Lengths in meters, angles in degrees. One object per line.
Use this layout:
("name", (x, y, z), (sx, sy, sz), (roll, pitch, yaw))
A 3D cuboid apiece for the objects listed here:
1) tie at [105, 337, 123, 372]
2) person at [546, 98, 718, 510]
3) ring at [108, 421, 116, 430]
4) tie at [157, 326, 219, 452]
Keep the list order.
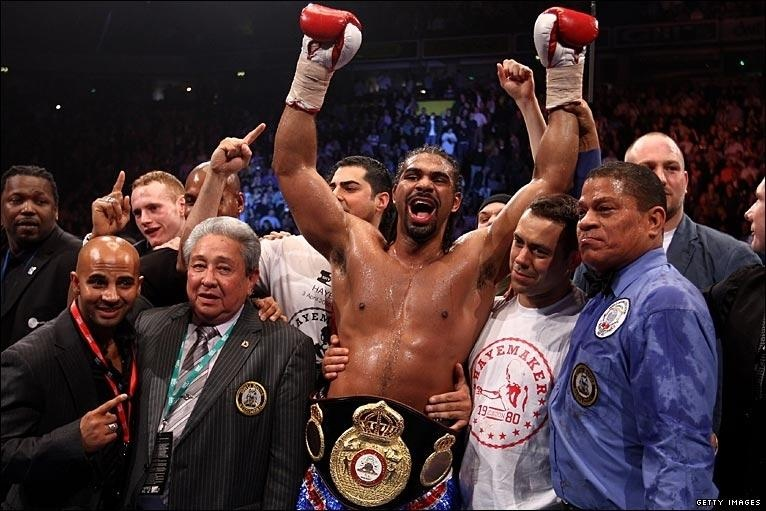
("tie", (-1.517, 0.552, 3.811), (0.136, 0.157, 0.159), (-5, -13, -9))
("person", (1.260, 0.413, 3.319), (0.802, 1.740, 0.411), (5, 6, 27))
("ring", (-1.465, 0.915, 3.616), (0.040, 0.022, 0.042), (-4, 1, 0))
("tie", (-1.074, 0.704, 3.684), (0.201, 0.624, 0.029), (17, -30, 9))
